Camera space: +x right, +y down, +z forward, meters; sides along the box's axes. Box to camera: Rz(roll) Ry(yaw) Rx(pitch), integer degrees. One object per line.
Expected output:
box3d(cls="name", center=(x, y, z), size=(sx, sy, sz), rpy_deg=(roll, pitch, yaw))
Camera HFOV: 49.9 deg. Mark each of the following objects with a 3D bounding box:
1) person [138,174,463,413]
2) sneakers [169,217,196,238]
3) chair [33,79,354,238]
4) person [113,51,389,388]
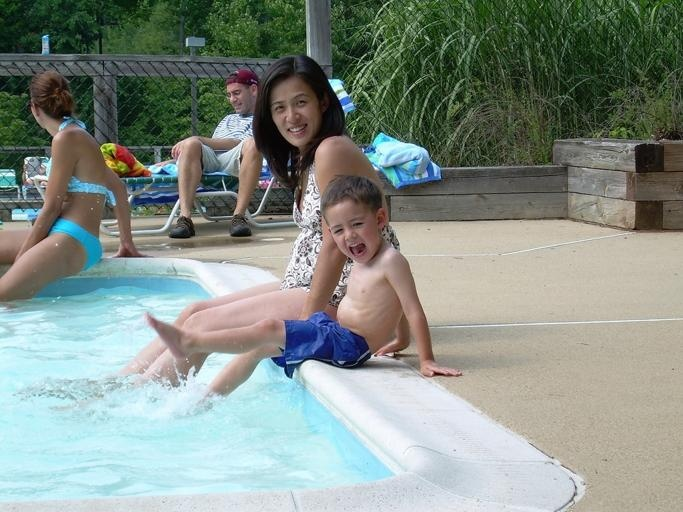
box3d(cls="person", center=(-0.150, 0.125, 2.864), size=(1.147, 0.812, 0.636), rpy_deg=(-4, 3, -21))
box3d(cls="sneakers", center=(-1.380, -0.235, 6.335), size=(0.110, 0.136, 0.318), rpy_deg=(-1, -3, 1))
box3d(cls="chair", center=(-0.994, -0.720, 6.595), size=(1.707, 1.113, 0.704), rpy_deg=(-9, -1, -13))
box3d(cls="person", center=(-0.455, -0.094, 3.035), size=(0.616, 1.395, 1.367), rpy_deg=(9, 23, 44))
